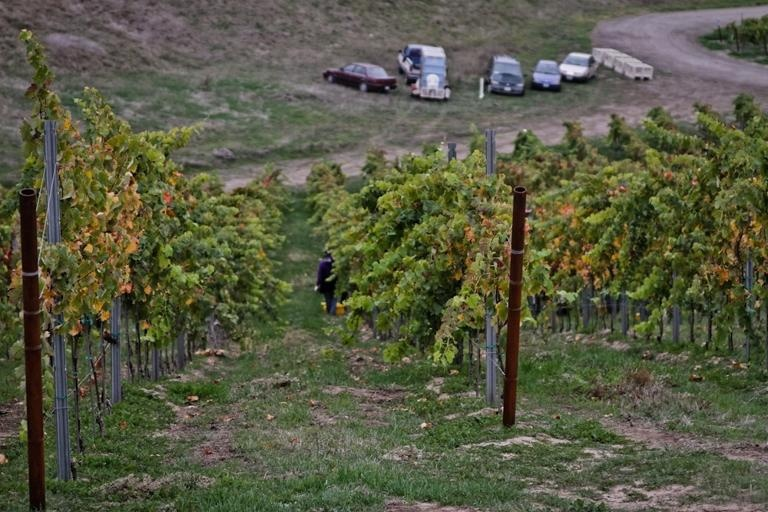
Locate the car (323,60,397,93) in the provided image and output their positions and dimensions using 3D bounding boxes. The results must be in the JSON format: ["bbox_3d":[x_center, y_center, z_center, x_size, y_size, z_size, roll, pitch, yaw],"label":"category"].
[{"bbox_3d":[-0.937,-8.676,76.538,2.802,0.916,1.531,27,30,36],"label":"car"}]

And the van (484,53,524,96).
[{"bbox_3d":[5.775,-8.706,76.475,1.174,1.158,2.295,1,14,0],"label":"van"}]

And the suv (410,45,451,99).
[{"bbox_3d":[2.380,-8.725,77.211,1.836,2.452,3.821,1,16,-5],"label":"suv"}]

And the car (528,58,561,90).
[{"bbox_3d":[7.675,-8.746,76.433,0.954,0.828,2.382,2,23,6],"label":"car"}]

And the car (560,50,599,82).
[{"bbox_3d":[9.286,-9.123,76.641,1.734,1.523,1.896,-1,0,9],"label":"car"}]

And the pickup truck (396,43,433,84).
[{"bbox_3d":[1.325,-9.744,77.740,1.068,1.018,2.096,-1,34,-4],"label":"pickup truck"}]
